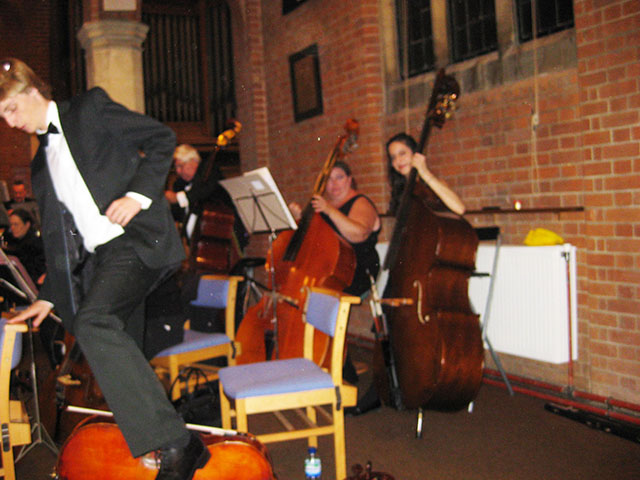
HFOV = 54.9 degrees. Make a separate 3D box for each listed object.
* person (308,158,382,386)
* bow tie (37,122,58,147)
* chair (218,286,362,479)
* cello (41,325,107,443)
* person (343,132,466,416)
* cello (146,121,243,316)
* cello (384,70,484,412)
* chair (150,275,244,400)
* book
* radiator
[{"bbox_3d":[0.193,0.200,4.765,0.457,1.484,0.716,2,-1,-41],"label":"person"},{"bbox_3d":[-1.381,-0.526,3.138,0.078,0.117,0.041,39,9,16],"label":"bow tie"},{"bbox_3d":[-0.216,0.772,3.937,0.959,1.451,0.907,2,-1,-24],"label":"chair"},{"bbox_3d":[-1.511,0.858,3.731,0.377,0.738,0.214,-4,0,32],"label":"cello"},{"bbox_3d":[0.606,0.150,4.194,0.391,2.056,0.977,11,-5,-13],"label":"person"},{"bbox_3d":[-1.046,-0.200,5.698,0.499,1.589,0.920,1,9,-40],"label":"cello"},{"bbox_3d":[0.687,0.365,3.840,0.584,1.593,0.649,-4,10,-16],"label":"cello"},{"bbox_3d":[-0.874,0.695,4.258,0.640,0.870,0.693,-3,0,-11],"label":"chair"},{"bbox_3d":[-0.395,-0.250,4.194,0.459,0.491,0.125,9,47,32],"label":"book"},{"bbox_3d":[1.327,0.442,4.192,0.231,0.789,1.118,-4,12,-35],"label":"radiator"}]
